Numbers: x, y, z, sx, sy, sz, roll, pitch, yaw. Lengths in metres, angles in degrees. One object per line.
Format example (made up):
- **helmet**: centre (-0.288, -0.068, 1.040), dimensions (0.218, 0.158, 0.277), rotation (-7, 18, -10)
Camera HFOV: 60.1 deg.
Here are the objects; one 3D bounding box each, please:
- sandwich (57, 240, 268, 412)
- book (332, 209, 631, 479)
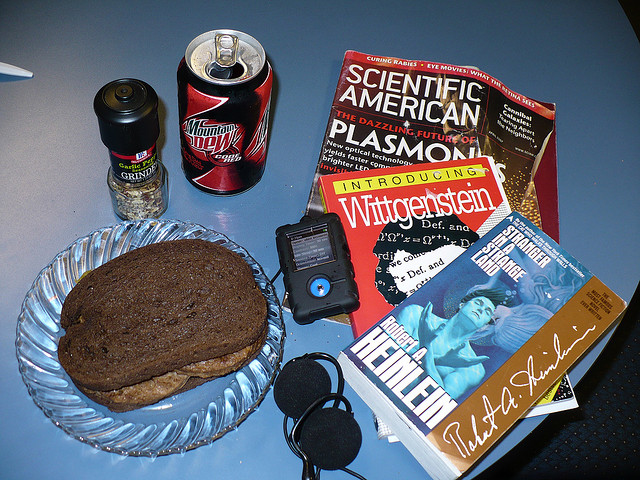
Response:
- **sandwich**: centre (-0.258, 0.132, 0.956), dimensions (0.304, 0.084, 0.273), rotation (-16, 76, -14)
- **book**: centre (0.282, 0.178, 1.022), dimensions (0.490, 0.338, 0.296), rotation (-17, 36, -31)
